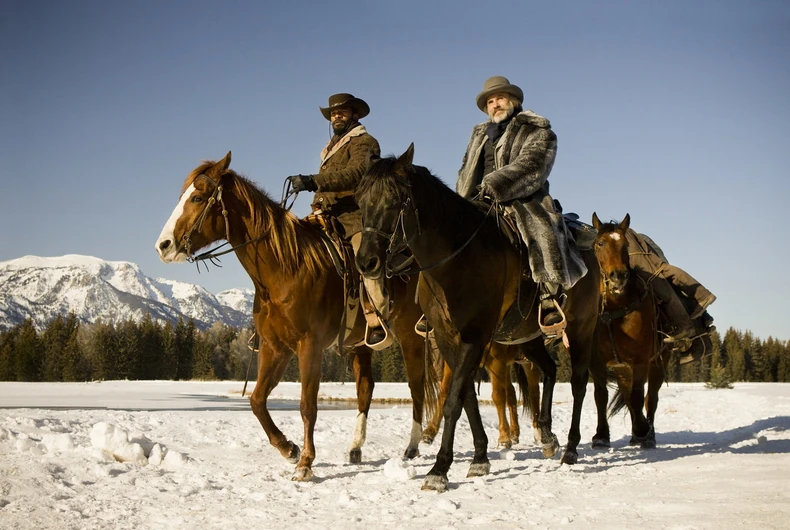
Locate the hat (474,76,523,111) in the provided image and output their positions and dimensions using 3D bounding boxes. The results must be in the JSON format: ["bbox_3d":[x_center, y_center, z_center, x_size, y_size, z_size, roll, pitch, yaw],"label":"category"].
[{"bbox_3d":[1.855,-3.167,12.872,0.627,0.331,0.766,2,-25,47],"label":"hat"}]
